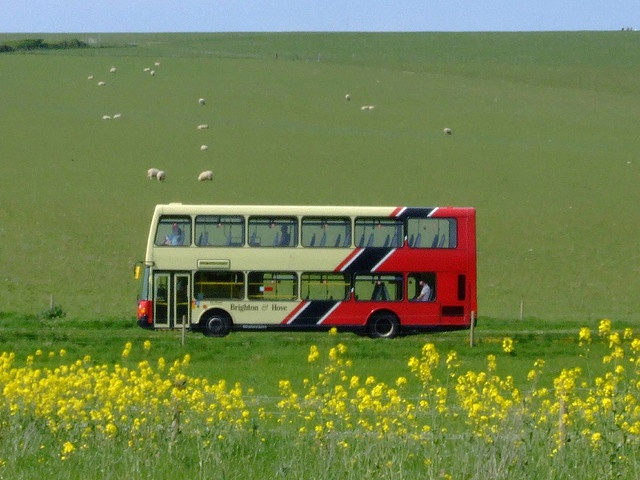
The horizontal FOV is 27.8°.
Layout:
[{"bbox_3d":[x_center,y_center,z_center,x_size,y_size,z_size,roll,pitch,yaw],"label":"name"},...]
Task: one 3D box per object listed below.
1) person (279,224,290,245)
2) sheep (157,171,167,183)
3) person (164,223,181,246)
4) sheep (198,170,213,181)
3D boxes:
[{"bbox_3d":[-3.042,-0.377,108.272,0.801,1.800,0.599,-1,11,-1],"label":"person"},{"bbox_3d":[-18.088,-7.245,146.942,0.917,1.205,1.071,-3,12,-10],"label":"sheep"},{"bbox_3d":[-12.309,-0.476,108.145,1.376,1.821,0.508,-3,11,-6],"label":"person"},{"bbox_3d":[-12.988,-7.219,145.200,1.459,1.141,0.897,1,-1,3],"label":"sheep"}]
